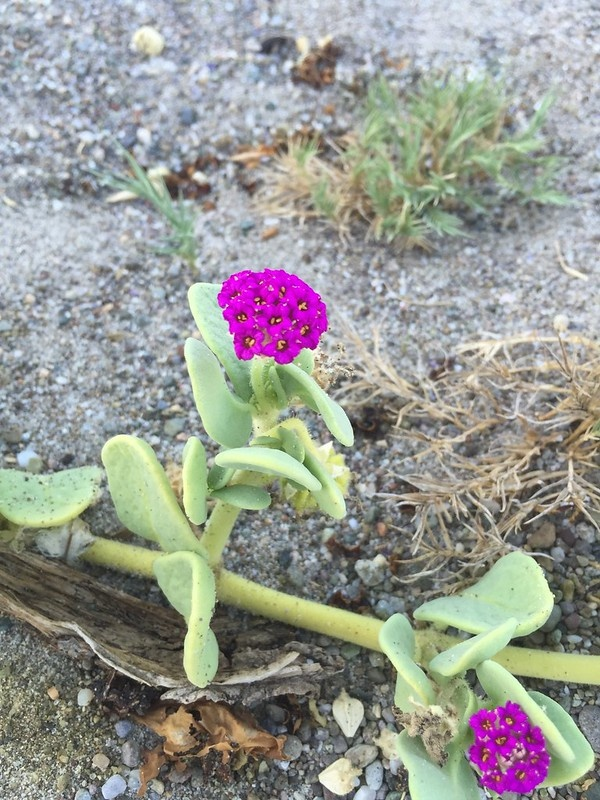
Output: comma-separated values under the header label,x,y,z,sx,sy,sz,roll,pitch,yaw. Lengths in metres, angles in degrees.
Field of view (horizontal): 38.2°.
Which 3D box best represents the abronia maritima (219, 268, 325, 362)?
label,x,y,z,sx,sy,sz,roll,pitch,yaw
abronia maritima,-0.069,-0.174,1.755,0.224,0.127,0.178,29,49,22
